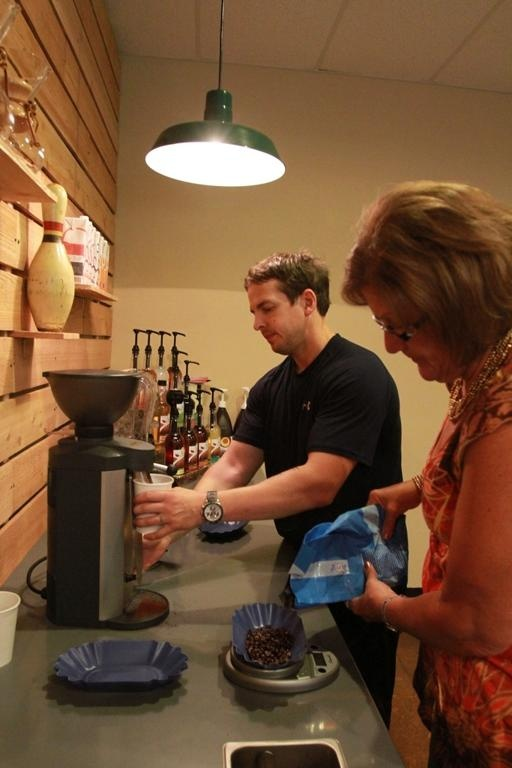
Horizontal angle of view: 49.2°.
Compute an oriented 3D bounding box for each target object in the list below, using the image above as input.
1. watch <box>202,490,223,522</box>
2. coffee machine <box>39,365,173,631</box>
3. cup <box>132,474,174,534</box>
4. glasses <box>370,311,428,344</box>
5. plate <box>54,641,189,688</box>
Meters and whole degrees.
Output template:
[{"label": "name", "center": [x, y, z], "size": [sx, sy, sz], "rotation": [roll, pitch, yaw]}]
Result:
[{"label": "watch", "center": [-0.102, 0.272, 1.236], "size": [0.043, 0.068, 0.065], "rotation": [1, 1, -6]}, {"label": "coffee machine", "center": [-0.265, 0.203, 1.031], "size": [0.228, 0.455, 0.163], "rotation": [1, 3, -31]}, {"label": "cup", "center": [-0.203, 0.233, 1.119], "size": [0.095, 0.102, 0.097], "rotation": [1, 3, 0]}, {"label": "glasses", "center": [0.226, -0.081, 0.838], "size": [0.045, 0.014, 0.045], "rotation": [-21, 31, -14]}, {"label": "plate", "center": [-0.199, 0.419, 0.838], "size": [0.105, 0.019, 0.084], "rotation": [2, 2, -2]}]
